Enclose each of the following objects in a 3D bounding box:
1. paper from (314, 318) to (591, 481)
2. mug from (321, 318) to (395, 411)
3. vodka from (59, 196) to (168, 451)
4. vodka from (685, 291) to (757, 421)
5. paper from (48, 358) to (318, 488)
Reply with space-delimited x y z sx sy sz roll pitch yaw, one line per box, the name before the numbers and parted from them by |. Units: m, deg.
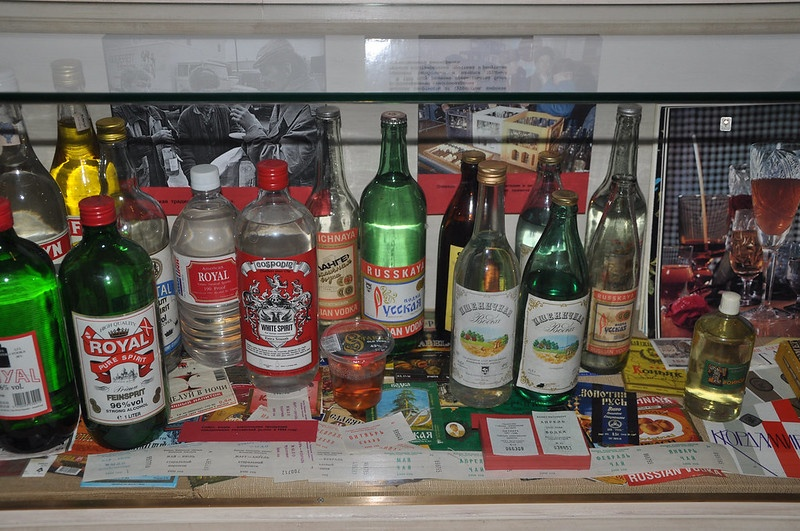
paper | 0.081 0.179 1.063 0.332 0.065 0.269 0 24 -2
mug | -0.073 0.201 1.197 0.165 0.122 0.146 5 30 6
vodka | -0.473 0.098 1.016 0.153 0.425 0.120 -11 24 -20
vodka | 0.583 0.160 1.109 0.101 0.231 0.108 9 25 26
paper | -0.376 0.277 1.048 0.297 0.062 0.255 2 46 -2
